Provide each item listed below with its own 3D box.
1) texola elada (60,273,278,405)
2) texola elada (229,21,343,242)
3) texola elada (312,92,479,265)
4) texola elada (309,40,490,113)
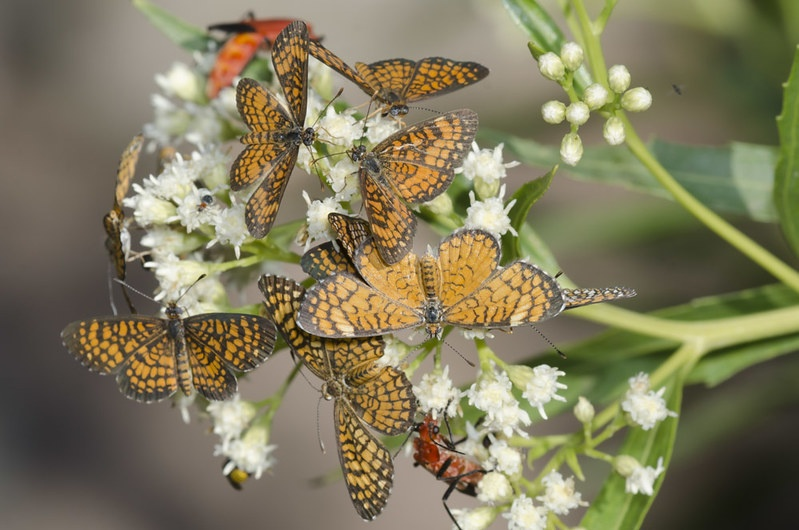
[{"bbox_3d":[-0.932,0.319,3.507,0.704,0.204,0.441,-1,-87,13],"label":"texola elada"},{"bbox_3d":[-0.450,-0.594,3.555,0.519,0.488,0.780,-3,-63,-6],"label":"texola elada"},{"bbox_3d":[0.005,-0.371,3.456,0.483,0.668,0.608,-1,-74,3],"label":"texola elada"},{"bbox_3d":[0.060,-0.724,3.513,0.799,0.514,0.393,-1,-84,2],"label":"texola elada"}]
